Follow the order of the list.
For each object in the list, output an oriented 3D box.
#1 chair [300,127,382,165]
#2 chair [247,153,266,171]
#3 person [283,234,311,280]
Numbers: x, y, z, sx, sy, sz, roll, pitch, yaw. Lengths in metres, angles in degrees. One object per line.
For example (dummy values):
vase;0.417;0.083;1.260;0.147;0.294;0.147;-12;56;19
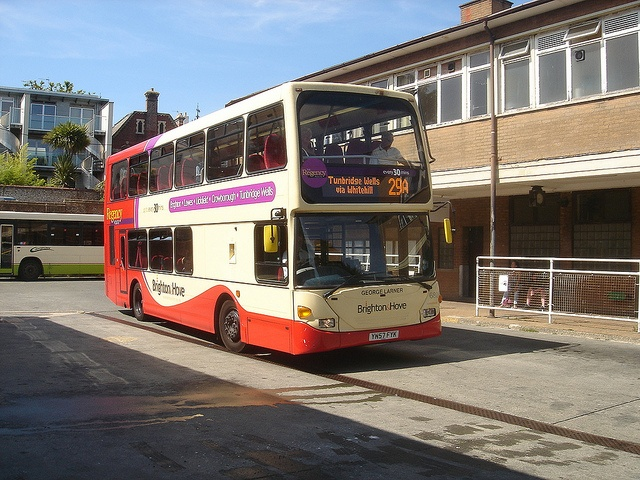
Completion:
chair;0.315;-1.654;10.305;1.464;0.634;0.307;0;1;-26
chair;-1.237;-1.455;10.973;0.303;0.332;0.381;-1;19;3
person;-0.360;0.281;10.003;0.522;0.744;0.287;-2;2;1
